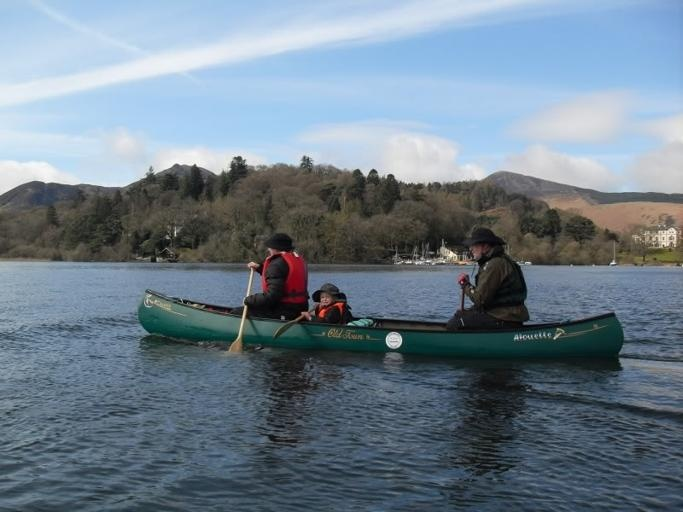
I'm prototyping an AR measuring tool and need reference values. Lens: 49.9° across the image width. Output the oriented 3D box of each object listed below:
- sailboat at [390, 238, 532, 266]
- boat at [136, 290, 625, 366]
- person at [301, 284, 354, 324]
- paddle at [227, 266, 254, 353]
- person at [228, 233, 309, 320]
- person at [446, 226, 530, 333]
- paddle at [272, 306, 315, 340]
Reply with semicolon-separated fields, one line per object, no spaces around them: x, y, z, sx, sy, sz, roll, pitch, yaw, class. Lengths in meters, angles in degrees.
19.692;-1.276;138.924;18.681;5.963;8.185;-1;-2;-24;sailboat
0.592;1.476;16.133;10.581;1.027;2.003;2;12;6;boat
-0.263;1.066;16.114;1.023;0.886;1.088;4;1;4;person
-2.140;1.166;15.886;0.511;1.882;0.554;0;7;-39;paddle
-1.396;0.454;15.652;1.378;1.851;1.167;0;2;-14;person
2.903;0.508;13.983;1.194;2.135;0.916;3;12;14;person
-1.051;1.466;15.616;1.642;0.067;0.213;-22;11;-28;paddle
